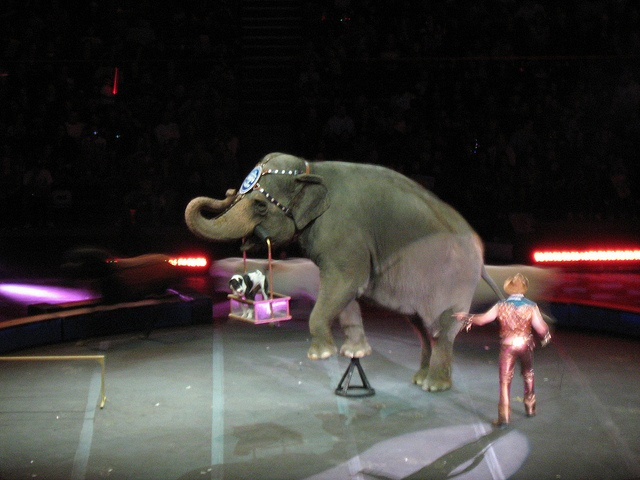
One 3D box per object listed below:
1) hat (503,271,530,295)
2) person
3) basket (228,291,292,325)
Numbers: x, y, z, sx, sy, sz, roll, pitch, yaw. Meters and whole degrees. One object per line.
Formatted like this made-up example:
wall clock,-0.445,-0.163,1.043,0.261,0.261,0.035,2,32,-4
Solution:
hat,1.352,0.303,3.844,0.141,0.150,0.086,-6,-16,18
person,1.332,0.746,3.839,0.499,1.010,0.262,-4,9,-19
basket,-0.476,0.517,4.173,0.321,0.122,0.301,-1,1,-33
